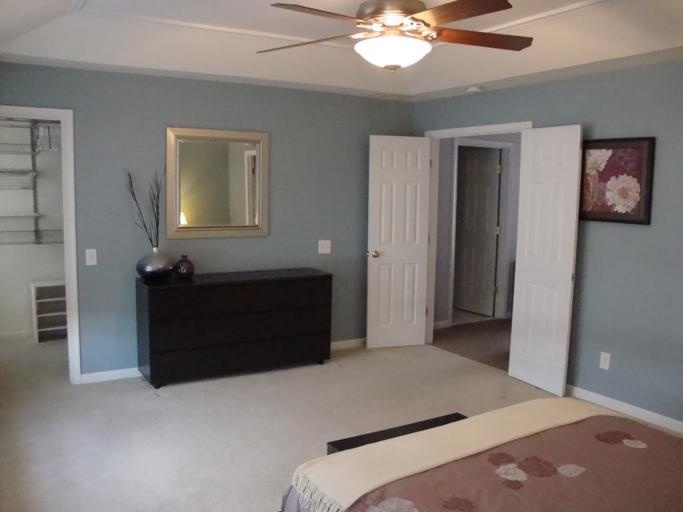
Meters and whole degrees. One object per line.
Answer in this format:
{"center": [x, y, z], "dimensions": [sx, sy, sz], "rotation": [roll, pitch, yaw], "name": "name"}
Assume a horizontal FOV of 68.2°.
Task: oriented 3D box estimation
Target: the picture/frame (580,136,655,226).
{"center": [2.395, -0.649, 4.313], "dimensions": [0.057, 0.799, 0.743], "rotation": [-3, 6, -31], "name": "picture/frame"}

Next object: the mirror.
{"center": [-1.293, -0.758, 5.089], "dimensions": [1.138, 1.189, 0.096], "rotation": [-3, 10, -29], "name": "mirror"}

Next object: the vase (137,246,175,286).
{"center": [-1.723, 0.086, 4.687], "dimensions": [0.316, 0.303, 0.316], "rotation": [1, 4, -22], "name": "vase"}

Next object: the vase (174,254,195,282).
{"center": [-1.494, 0.118, 4.810], "dimensions": [0.185, 0.215, 0.209], "rotation": [-8, 16, -36], "name": "vase"}

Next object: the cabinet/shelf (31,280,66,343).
{"center": [-3.388, 0.631, 5.855], "dimensions": [0.350, 0.661, 0.230], "rotation": [-6, 15, -28], "name": "cabinet/shelf"}
